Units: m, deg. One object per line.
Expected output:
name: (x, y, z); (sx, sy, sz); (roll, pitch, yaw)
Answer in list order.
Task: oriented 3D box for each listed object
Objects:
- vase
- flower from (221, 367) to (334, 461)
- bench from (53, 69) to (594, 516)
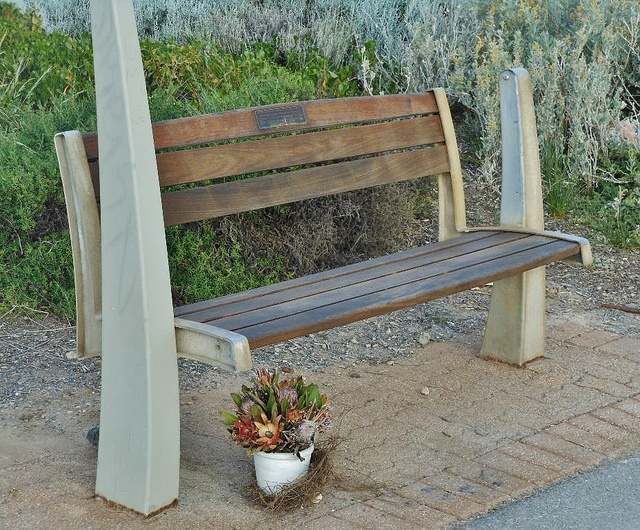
vase: (-0.127, 0.713, 2.368); (0.190, 0.132, 0.181); (3, 7, 25)
flower: (-0.158, 0.524, 2.344); (0.377, 0.290, 0.243); (-4, 14, -1)
bench: (-0.111, -0.217, 2.676); (1.636, 0.913, 0.636); (-11, 22, -12)
